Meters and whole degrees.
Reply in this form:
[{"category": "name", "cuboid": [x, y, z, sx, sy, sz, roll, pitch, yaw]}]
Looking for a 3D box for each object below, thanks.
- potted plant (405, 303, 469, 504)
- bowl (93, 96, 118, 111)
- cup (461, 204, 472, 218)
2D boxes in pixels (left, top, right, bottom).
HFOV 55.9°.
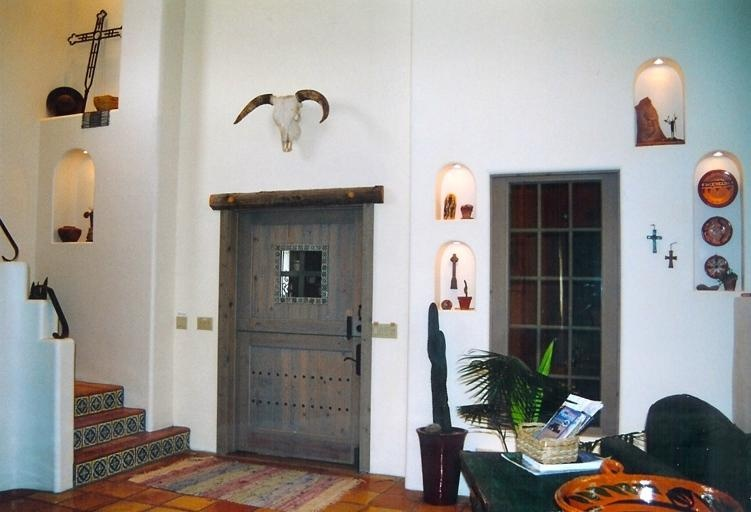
[{"category": "potted plant", "cuboid": [0.615, 1.401, 6.667, 0.463, 1.791, 0.550, -4, 10, -23]}, {"category": "bowl", "cuboid": [-3.029, -1.763, 8.033, 0.424, 0.180, 0.207, 9, 14, 40]}, {"category": "cup", "cuboid": [0.897, -0.440, 6.904, 0.105, 0.126, 0.111, 3, -10, 1]}]
